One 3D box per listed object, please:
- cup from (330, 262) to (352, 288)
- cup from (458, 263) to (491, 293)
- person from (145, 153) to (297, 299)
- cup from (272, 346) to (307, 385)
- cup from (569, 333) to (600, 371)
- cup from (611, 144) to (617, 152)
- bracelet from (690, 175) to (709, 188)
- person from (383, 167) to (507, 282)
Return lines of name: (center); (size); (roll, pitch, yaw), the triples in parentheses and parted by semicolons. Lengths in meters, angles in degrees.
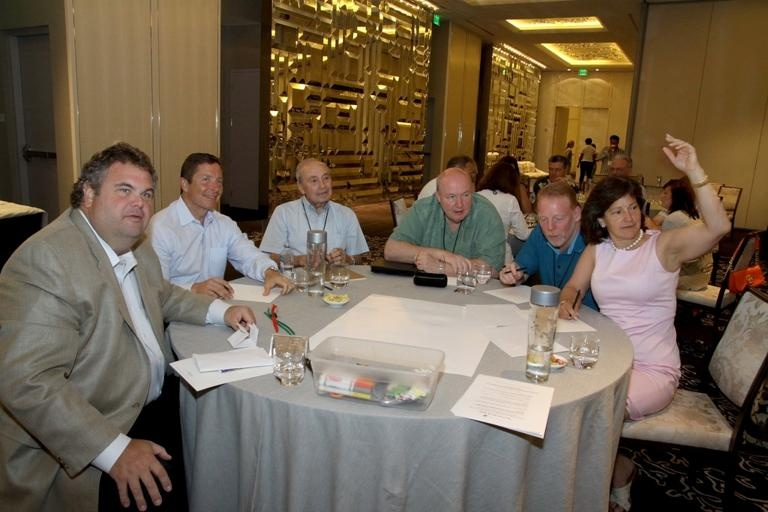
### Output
cup: (-0.242, 0.108, 2.830); (0.121, 0.132, 0.127); (0, 10, 0)
cup: (0.545, 0.143, 3.035); (0.133, 0.098, 0.233); (2, 1, 29)
person: (-1.180, -0.233, 3.411); (1.131, 1.171, 0.726); (9, 15, 26)
cup: (-0.373, 0.432, 1.969); (0.117, 0.146, 0.123); (-1, -2, 0)
cup: (0.900, 0.420, 2.191); (0.125, 0.147, 0.133); (1, 3, 0)
cup: (4.735, -2.209, 10.184); (0.129, 0.087, 0.181); (-2, 31, 24)
bracelet: (1.607, -0.364, 2.524); (0.065, 0.026, 0.068); (-29, 0, 34)
person: (0.457, -0.148, 3.498); (0.673, 0.758, 0.889); (6, 24, 11)
